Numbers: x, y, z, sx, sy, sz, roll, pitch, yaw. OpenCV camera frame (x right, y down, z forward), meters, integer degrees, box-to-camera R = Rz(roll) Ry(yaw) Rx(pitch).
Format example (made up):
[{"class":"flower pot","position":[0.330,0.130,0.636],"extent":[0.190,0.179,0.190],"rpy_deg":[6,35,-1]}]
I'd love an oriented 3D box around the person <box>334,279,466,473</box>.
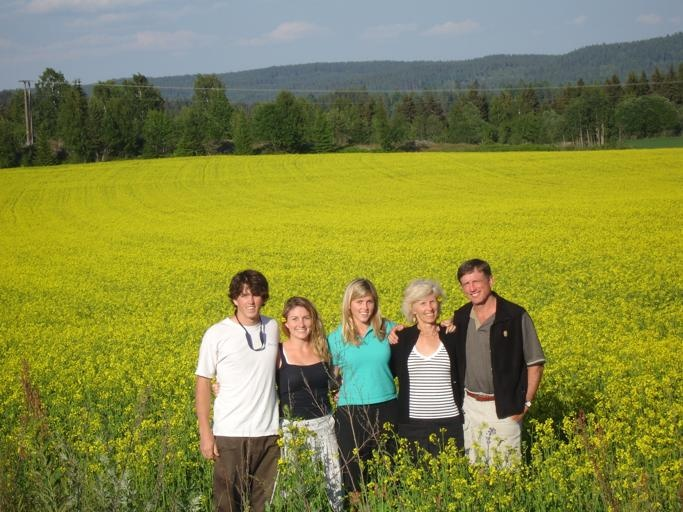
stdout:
[{"class":"person","position":[0.304,1.359,7.461],"extent":[1.135,2.746,0.770],"rpy_deg":[-9,42,-7]}]
